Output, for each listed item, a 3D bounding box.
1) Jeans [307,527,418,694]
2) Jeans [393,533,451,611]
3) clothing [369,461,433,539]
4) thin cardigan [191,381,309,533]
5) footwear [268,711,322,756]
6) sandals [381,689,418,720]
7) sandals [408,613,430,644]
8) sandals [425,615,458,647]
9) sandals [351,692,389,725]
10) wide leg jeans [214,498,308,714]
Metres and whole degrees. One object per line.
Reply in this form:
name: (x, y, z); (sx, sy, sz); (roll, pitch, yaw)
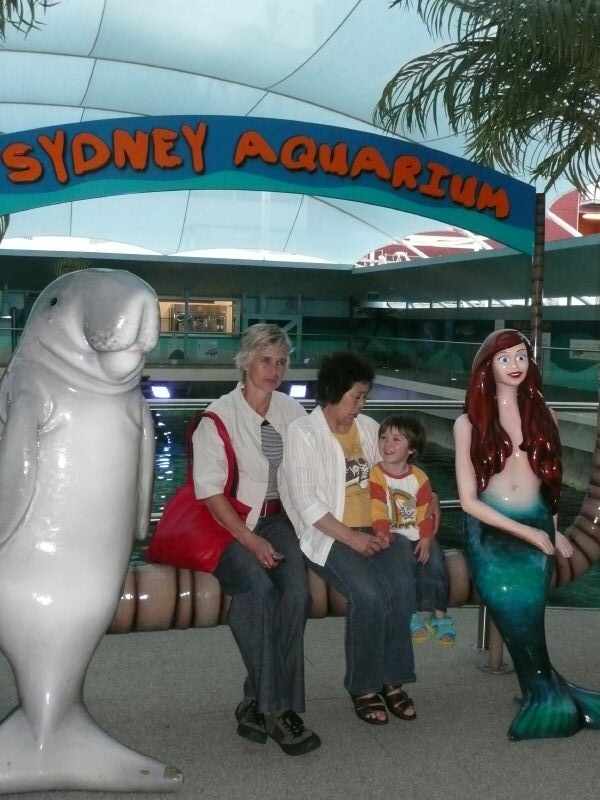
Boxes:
Jeans: (0.204, 0.631, 2.128); (0.344, 0.517, 0.318); (0, 0, -18)
Jeans: (0.415, 0.594, 2.210); (0.177, 0.278, 0.121); (2, -2, -1)
clothing: (0.341, 0.351, 2.284); (0.229, 0.283, 0.162); (6, -19, -21)
thin cardigan: (-0.167, 0.182, 2.391); (0.315, 0.479, 0.591); (10, 10, 41)
footwear: (-0.018, 0.923, 1.877); (0.155, 0.067, 0.073); (4, 11, 45)
sandals: (0.312, 0.947, 2.078); (0.057, 0.045, 0.124); (-6, 9, -23)
sandals: (0.405, 0.794, 2.323); (0.072, 0.075, 0.199); (0, -5, 2)
sandals: (0.492, 0.798, 2.318); (0.067, 0.072, 0.189); (1, -4, -6)
sandals: (0.219, 0.939, 2.021); (0.062, 0.044, 0.118); (-1, -2, -8)
wide leg jeans: (-0.128, 0.669, 2.063); (0.282, 0.506, 0.424); (3, -3, -5)
